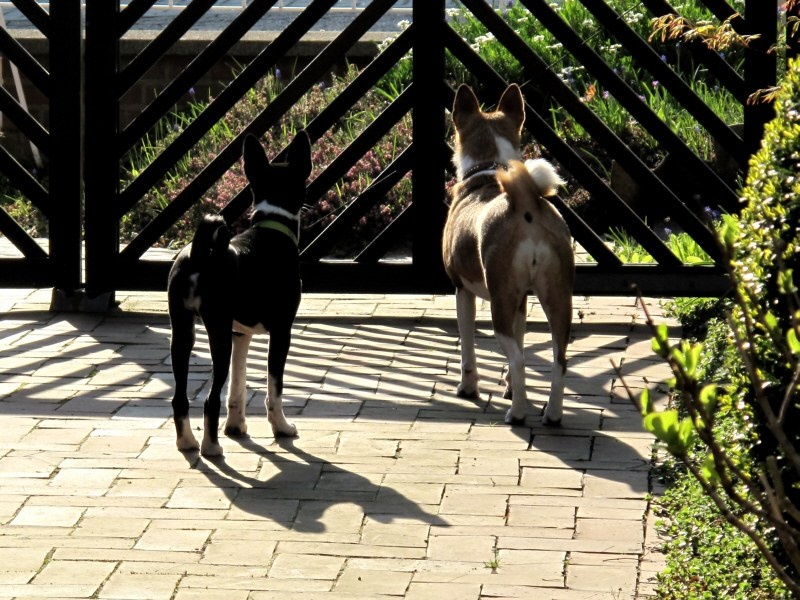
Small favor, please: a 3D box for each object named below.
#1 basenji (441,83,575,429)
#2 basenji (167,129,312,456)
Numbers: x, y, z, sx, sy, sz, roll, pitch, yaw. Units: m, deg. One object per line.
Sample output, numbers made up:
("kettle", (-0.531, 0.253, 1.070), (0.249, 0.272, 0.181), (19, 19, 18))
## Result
("basenji", (0.647, -0.306, 5.988), (0.664, 1.884, 1.136), (-2, 15, -7))
("basenji", (-0.827, -0.043, 5.387), (0.486, 1.647, 0.837), (7, 16, 26))
